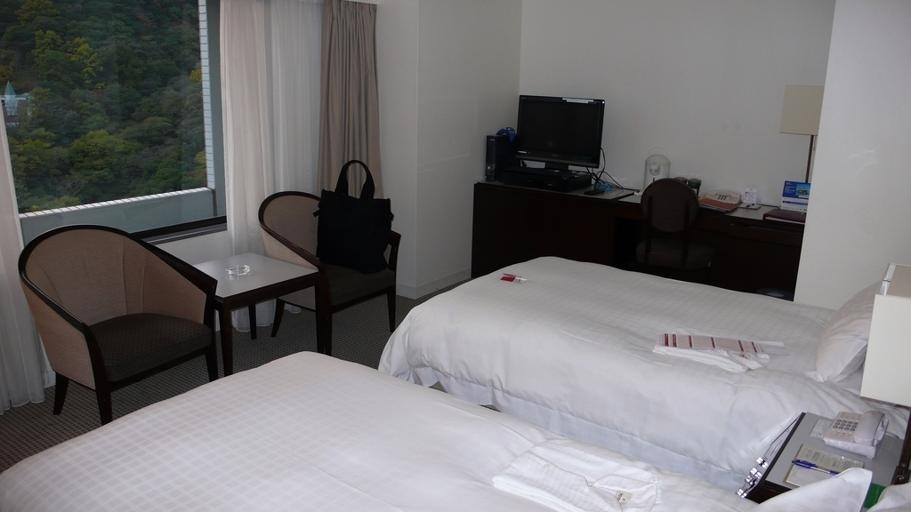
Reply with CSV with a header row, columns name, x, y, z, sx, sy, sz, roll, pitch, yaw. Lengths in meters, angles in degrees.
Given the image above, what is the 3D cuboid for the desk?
name,x,y,z,sx,sy,sz,roll,pitch,yaw
desk,2.416,-0.034,5.624,1.620,0.845,0.507,6,12,-3

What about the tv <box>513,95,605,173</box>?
name,x,y,z,sx,sy,sz,roll,pitch,yaw
tv,1.140,-1.310,6.199,0.906,0.614,0.119,10,21,24

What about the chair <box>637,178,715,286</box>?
name,x,y,z,sx,sy,sz,roll,pitch,yaw
chair,2.102,-0.128,5.650,0.751,1.128,0.717,3,-5,21

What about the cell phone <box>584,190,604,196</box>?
name,x,y,z,sx,sy,sz,roll,pitch,yaw
cell phone,1.433,-0.651,5.985,0.140,0.035,0.222,14,22,32

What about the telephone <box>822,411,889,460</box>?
name,x,y,z,sx,sy,sz,roll,pitch,yaw
telephone,2.191,0.925,3.143,0.316,0.126,0.251,-28,23,-36
